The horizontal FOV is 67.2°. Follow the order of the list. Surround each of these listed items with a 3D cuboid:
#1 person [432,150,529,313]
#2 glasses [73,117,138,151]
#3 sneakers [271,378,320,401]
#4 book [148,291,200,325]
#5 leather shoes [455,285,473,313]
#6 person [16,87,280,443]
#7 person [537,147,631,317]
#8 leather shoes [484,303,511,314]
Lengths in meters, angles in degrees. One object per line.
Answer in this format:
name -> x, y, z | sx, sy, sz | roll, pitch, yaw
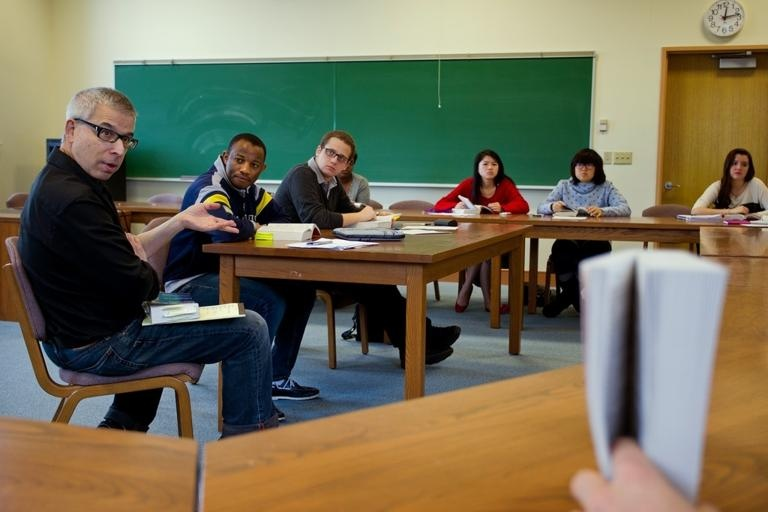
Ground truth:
person -> 0.784, -0.222, 4.493 | 0.725, 1.195, 0.629 | 0, 6, 18
glasses -> -0.784, -0.362, 1.633 | 0.102, 0.027, 0.099 | 26, 3, 21
sneakers -> -0.370, 0.568, 2.452 | 0.233, 0.086, 0.085 | 1, -1, -1
book -> -0.574, 0.143, 1.577 | 0.107, 0.037, 0.082 | 0, 6, 5
leather shoes -> 0.620, 0.327, 4.246 | 0.082, 0.247, 0.067 | 9, 3, 31
person -> -0.645, 0.073, 1.704 | 0.739, 1.071, 0.463 | -2, 6, -10
person -> 1.499, -0.194, 4.272 | 0.657, 1.212, 0.663 | 3, 4, 27
leather shoes -> 0.865, 0.384, 4.218 | 0.147, 0.053, 0.084 | 1, 2, 32
